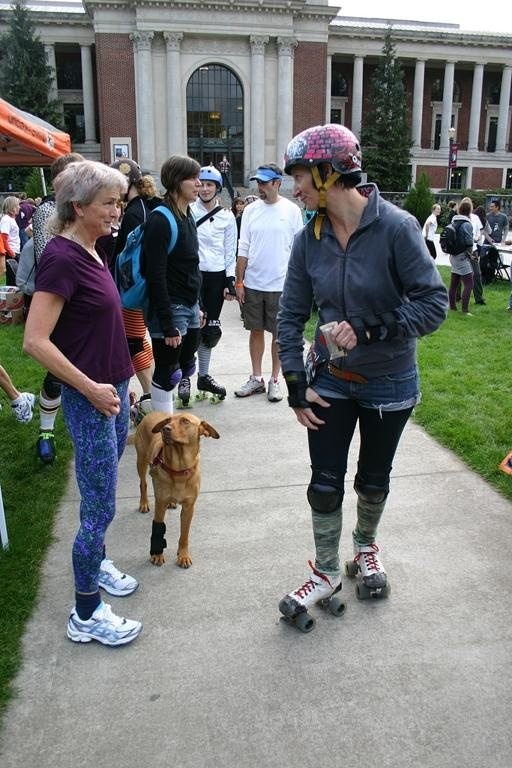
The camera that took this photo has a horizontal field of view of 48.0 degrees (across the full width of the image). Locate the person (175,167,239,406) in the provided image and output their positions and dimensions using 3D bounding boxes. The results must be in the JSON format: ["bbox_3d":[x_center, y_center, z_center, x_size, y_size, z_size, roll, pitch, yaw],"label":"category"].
[{"bbox_3d":[-0.504,-1.002,6.164,0.626,2.193,1.027,1,3,13],"label":"person"}]

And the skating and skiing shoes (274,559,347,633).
[{"bbox_3d":[0.254,0.947,2.611,0.332,0.226,0.202,-12,23,-34],"label":"skating and skiing shoes"}]

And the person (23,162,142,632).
[{"bbox_3d":[-0.694,0.087,2.400,0.388,1.895,0.615,1,13,-7],"label":"person"}]

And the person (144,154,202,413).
[{"bbox_3d":[-0.598,-0.589,4.387,0.406,2.177,0.660,7,22,10],"label":"person"}]

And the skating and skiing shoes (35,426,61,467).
[{"bbox_3d":[-1.563,0.498,4.362,0.103,0.128,0.313,-4,25,-19],"label":"skating and skiing shoes"}]

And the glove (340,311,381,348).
[{"bbox_3d":[0.388,-0.199,2.140,0.123,0.098,0.055,-9,33,-20],"label":"glove"}]

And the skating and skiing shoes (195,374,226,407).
[{"bbox_3d":[-0.492,0.054,6.047,0.384,0.287,0.200,8,16,35],"label":"skating and skiing shoes"}]

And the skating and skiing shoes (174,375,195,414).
[{"bbox_3d":[-0.716,0.103,5.924,0.137,0.252,0.399,0,12,-6],"label":"skating and skiing shoes"}]

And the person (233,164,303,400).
[{"bbox_3d":[0.086,-1.025,6.141,0.693,2.290,0.968,-1,4,-17],"label":"person"}]

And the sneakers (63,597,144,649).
[{"bbox_3d":[-0.633,1.017,2.454,0.416,0.151,0.184,2,15,6],"label":"sneakers"}]

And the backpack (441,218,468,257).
[{"bbox_3d":[3.810,-2.885,11.390,0.647,0.658,0.485,-3,8,-17],"label":"backpack"}]

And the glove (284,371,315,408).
[{"bbox_3d":[0.166,0.025,2.395,0.091,0.159,0.074,-2,-4,31],"label":"glove"}]
